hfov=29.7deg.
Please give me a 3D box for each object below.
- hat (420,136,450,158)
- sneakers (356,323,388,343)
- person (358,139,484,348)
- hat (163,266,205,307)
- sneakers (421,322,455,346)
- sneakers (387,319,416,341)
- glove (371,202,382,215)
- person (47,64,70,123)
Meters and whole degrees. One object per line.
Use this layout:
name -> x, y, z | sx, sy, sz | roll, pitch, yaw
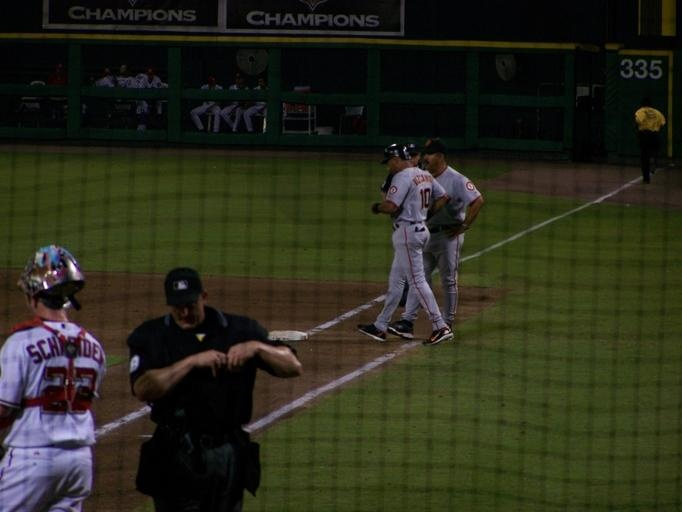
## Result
hat -> 1.490, -1.796, 21.282 | 0.464, 0.227, 0.313 | 9, 21, 17
sneakers -> 0.593, 1.272, 21.338 | 0.596, 0.255, 0.203 | 22, 21, -6
person -> 1.347, -0.227, 21.034 | 1.691, 3.316, 0.709 | -1, 2, -11
hat -> -1.896, 0.320, 15.389 | 0.400, 0.263, 0.513 | -4, 23, 2
sneakers -> 1.636, 1.301, 21.139 | 0.640, 0.264, 0.223 | -26, 15, -5
sneakers -> 1.026, 1.210, 21.293 | 0.571, 0.253, 0.217 | 17, -4, -7
glove -> 0.585, -0.768, 20.841 | 0.199, 0.157, 0.169 | 3, 12, 4
person -> -7.947, -4.499, 35.742 | 0.503, 1.727, 0.873 | -1, 2, -12
